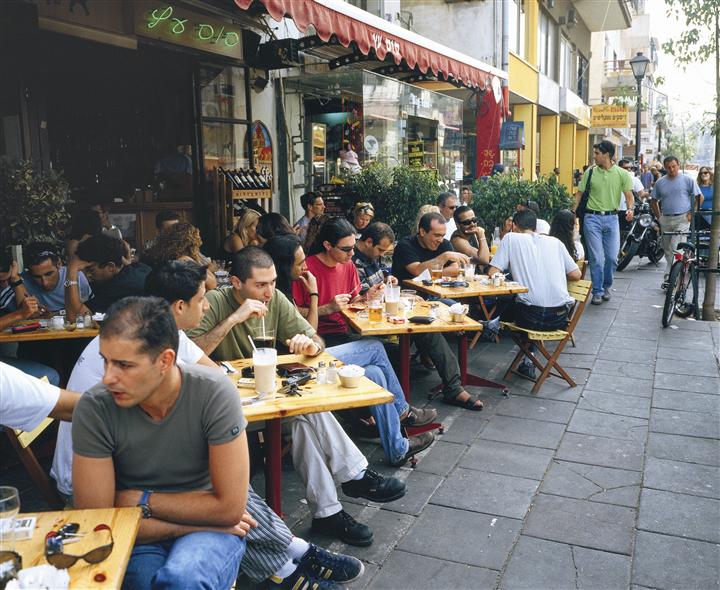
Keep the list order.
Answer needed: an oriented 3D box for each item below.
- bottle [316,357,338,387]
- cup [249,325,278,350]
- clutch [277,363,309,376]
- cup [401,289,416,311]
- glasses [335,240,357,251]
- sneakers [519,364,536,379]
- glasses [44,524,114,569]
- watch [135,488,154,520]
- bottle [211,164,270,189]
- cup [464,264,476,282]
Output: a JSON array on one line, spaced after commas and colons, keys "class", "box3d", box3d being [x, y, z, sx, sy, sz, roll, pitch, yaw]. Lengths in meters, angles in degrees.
[{"class": "bottle", "box3d": [-0.193, 0.454, 3.514, 0.116, 0.158, 0.055, -3, 3, -41]}, {"class": "cup", "box3d": [-0.562, 0.221, 3.535, 0.171, 0.164, 0.172, 2, 6, 0]}, {"class": "clutch", "box3d": [-0.392, 0.436, 3.563, 0.091, 0.027, 0.090, -5, 12, -38]}, {"class": "cup", "box3d": [0.433, 0.045, 5.382, 0.175, 0.219, 0.143, 0, -5, -10]}, {"class": "glasses", "box3d": [-0.111, -0.412, 5.073, 0.104, 0.035, 0.104, -14, 35, -26]}, {"class": "sneakers", "box3d": [1.783, 0.813, 6.415, 0.185, 0.191, 0.142, -6, 7, -7]}, {"class": "glasses", "box3d": [-0.964, 0.845, 2.079, 0.209, 0.075, 0.221, -6, 13, -26]}, {"class": "watch", "box3d": [-0.866, 0.856, 2.441, 0.061, 0.104, 0.103, 1, -5, 10]}, {"class": "bottle", "box3d": [-1.575, -1.545, 8.115, 0.516, 0.195, 0.390, 2, 2, 10]}, {"class": "cup", "box3d": [1.264, -0.255, 6.895, 0.148, 0.184, 0.159, -1, -2, 0]}]
